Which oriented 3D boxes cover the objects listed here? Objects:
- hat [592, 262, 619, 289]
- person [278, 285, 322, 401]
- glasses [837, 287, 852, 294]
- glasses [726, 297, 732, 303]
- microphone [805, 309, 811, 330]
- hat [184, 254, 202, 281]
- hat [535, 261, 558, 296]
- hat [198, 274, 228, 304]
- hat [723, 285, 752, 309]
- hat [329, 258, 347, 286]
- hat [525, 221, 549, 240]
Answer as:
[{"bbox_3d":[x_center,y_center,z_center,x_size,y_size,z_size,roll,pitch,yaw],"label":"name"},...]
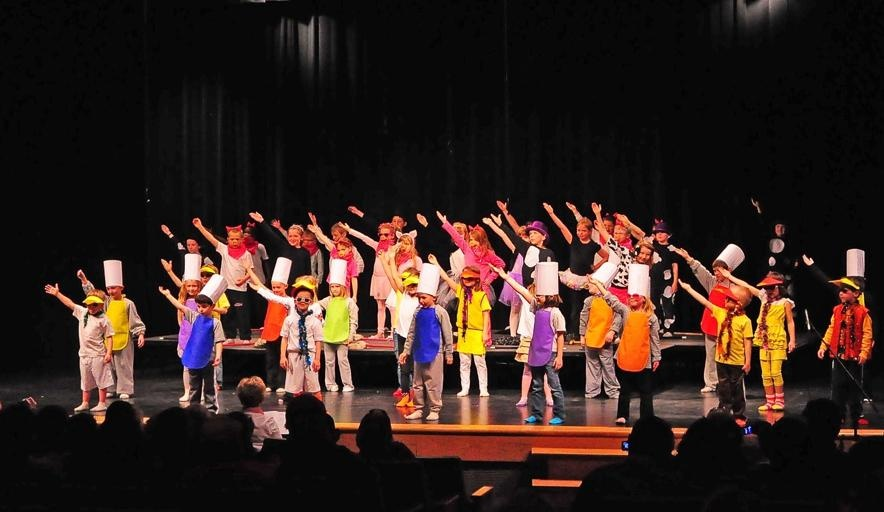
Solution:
[{"bbox_3d":[1.960,0.237,9.422,0.199,0.302,0.184,25,-30,16],"label":"hat"},{"bbox_3d":[-1.703,0.996,9.580,0.485,1.435,0.294,1,-7,-12],"label":"person"},{"bbox_3d":[4.631,0.394,9.035,0.089,0.042,0.066,12,-5,4],"label":"glasses"},{"bbox_3d":[3.209,0.491,8.859,0.057,0.054,0.059,-3,-19,-12],"label":"glasses"},{"bbox_3d":[4.963,0.851,10.702,0.080,0.289,0.872,-3,-7,24],"label":"microphone"},{"bbox_3d":[-3.319,0.138,10.518,0.193,0.351,0.327,2,-7,-20],"label":"hat"},{"bbox_3d":[1.209,0.266,9.101,0.369,0.374,0.350,-1,-1,3],"label":"hat"},{"bbox_3d":[-2.906,0.416,9.965,0.233,0.327,0.221,30,-51,0],"label":"hat"},{"bbox_3d":[3.315,0.457,8.884,0.276,0.148,0.207,17,-1,11],"label":"hat"},{"bbox_3d":[-1.392,0.210,10.557,0.217,0.407,0.597,1,-6,-6],"label":"hat"},{"bbox_3d":[1.290,-0.384,10.717,0.256,0.305,0.740,-1,-6,4],"label":"hat"}]
